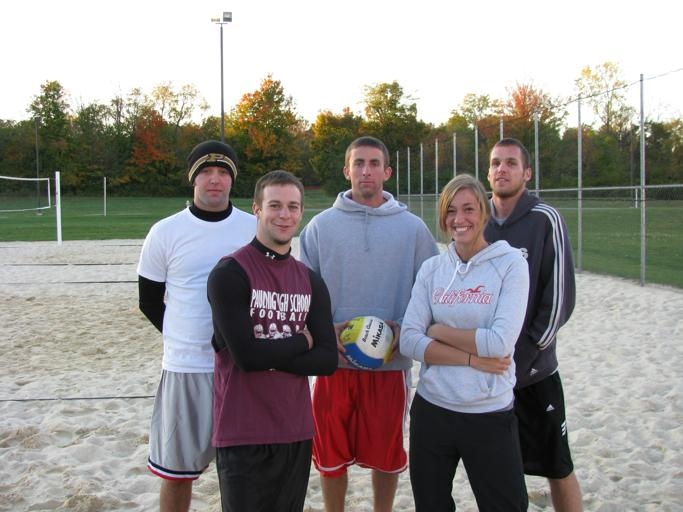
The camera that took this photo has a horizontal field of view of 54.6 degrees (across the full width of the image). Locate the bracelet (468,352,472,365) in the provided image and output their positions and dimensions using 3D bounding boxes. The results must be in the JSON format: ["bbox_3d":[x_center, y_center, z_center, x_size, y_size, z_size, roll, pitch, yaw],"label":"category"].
[{"bbox_3d":[0.827,0.664,4.248,0.021,0.084,0.021,1,12,8],"label":"bracelet"}]

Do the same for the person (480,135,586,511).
[{"bbox_3d":[1.439,0.399,4.957,0.808,2.421,0.896,10,10,15],"label":"person"}]
